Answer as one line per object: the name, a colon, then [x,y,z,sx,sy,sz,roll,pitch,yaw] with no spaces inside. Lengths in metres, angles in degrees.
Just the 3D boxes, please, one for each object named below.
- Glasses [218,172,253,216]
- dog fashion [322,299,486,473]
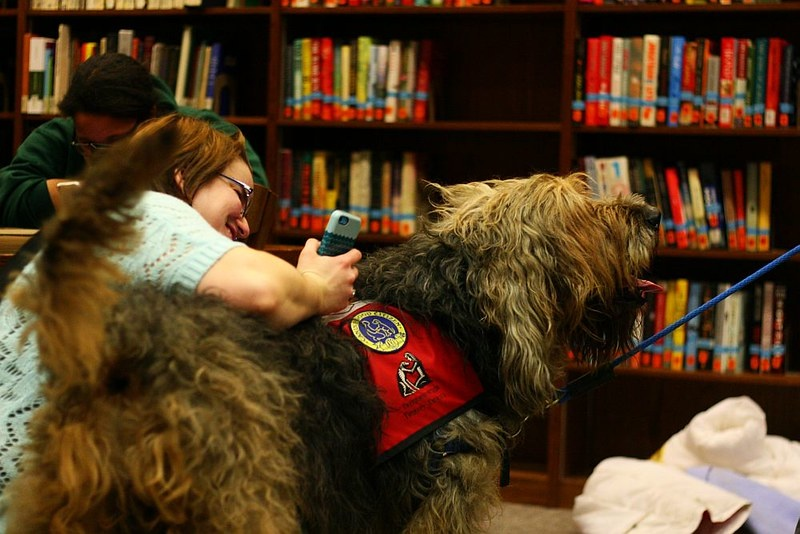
Glasses: [-0.400,-0.181,2.047,0.084,0.028,0.081,17,-13,0]
dog fashion: [0.002,0.286,1.891,0.159,0.295,0.310,-40,-12,38]
